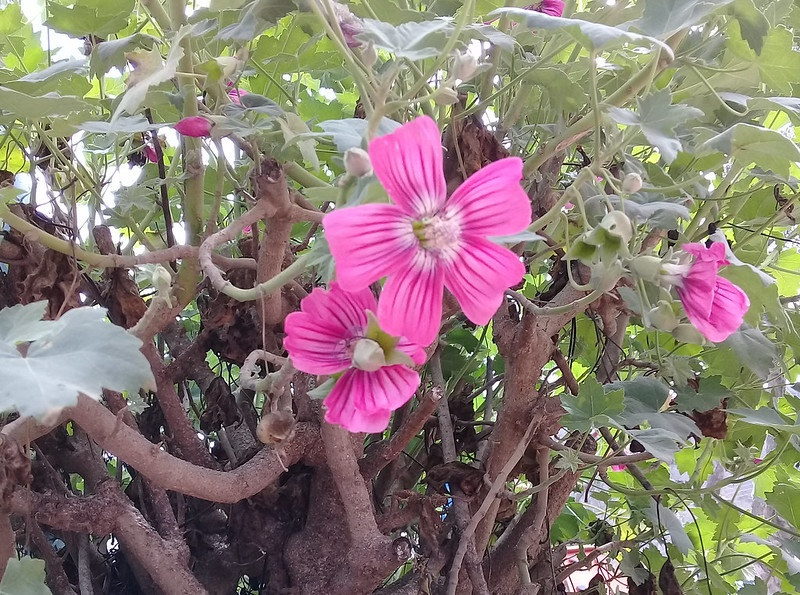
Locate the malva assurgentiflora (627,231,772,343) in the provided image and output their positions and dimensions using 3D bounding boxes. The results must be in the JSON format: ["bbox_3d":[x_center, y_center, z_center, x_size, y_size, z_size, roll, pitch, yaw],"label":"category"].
[{"bbox_3d":[0.455,-0.025,1.127,0.194,0.128,0.127,18,31,30],"label":"malva assurgentiflora"}]

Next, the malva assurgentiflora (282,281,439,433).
[{"bbox_3d":[-0.061,0.086,1.013,0.186,0.098,0.201,-36,69,-6],"label":"malva assurgentiflora"}]
